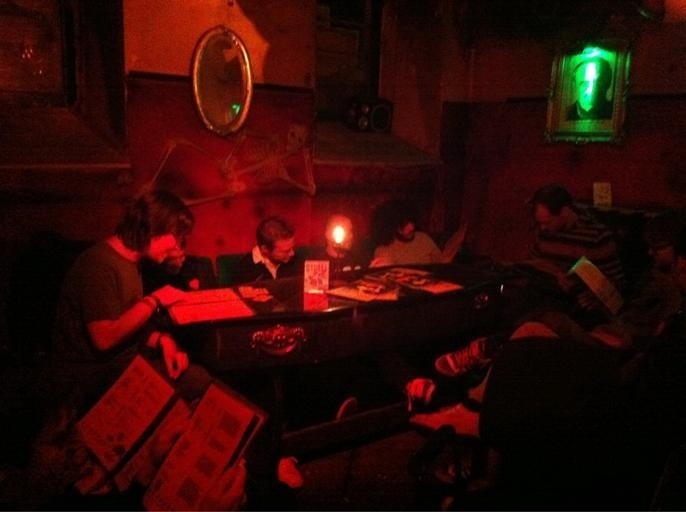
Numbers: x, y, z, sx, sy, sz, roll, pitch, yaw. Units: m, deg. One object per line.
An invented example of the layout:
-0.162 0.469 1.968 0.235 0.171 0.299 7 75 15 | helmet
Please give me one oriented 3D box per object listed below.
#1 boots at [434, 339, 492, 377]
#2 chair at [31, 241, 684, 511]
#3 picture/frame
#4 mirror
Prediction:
0.784 0.677 3.757 0.485 0.158 0.200 -17 -21 -10 | boots
0.976 0.797 4.041 2.885 1.342 0.685 4 -7 -4 | chair
1.857 -1.254 4.213 0.544 0.725 0.071 8 11 33 | picture/frame
-0.762 -1.083 3.484 0.100 0.642 0.390 15 24 42 | mirror
